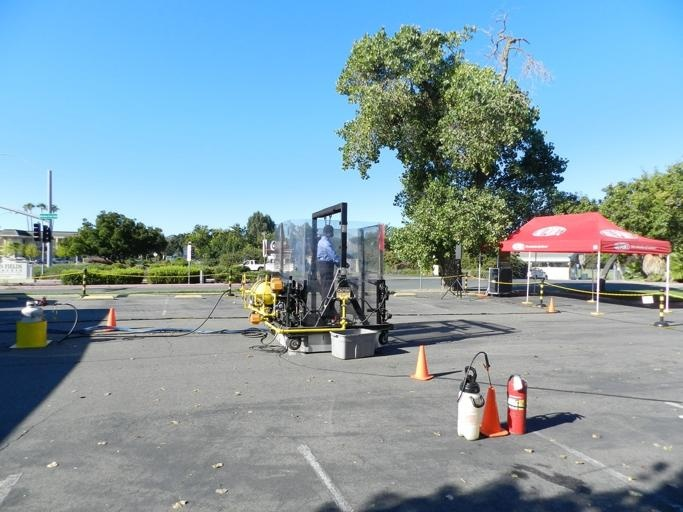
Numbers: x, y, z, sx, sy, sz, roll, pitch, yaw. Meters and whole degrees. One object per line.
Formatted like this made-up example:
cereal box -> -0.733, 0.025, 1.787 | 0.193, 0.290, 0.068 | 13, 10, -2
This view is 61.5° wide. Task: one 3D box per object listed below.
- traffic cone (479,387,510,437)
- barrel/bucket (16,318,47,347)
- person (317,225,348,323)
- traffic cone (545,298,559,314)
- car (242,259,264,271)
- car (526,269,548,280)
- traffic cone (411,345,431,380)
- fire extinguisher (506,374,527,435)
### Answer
traffic cone -> 2.454, 2.410, 9.051 | 0.390, 0.767, 0.589 | 7, 11, 39
barrel/bucket -> -7.200, 1.785, 13.420 | 0.632, 0.727, 0.630 | 2, -2, 0
person -> -0.314, 0.411, 13.487 | 0.521, 2.232, 0.725 | -2, 9, -16
traffic cone -> 8.491, 2.025, 23.296 | 0.444, 0.477, 0.500 | -2, -3, -2
car -> -7.917, 0.703, 51.734 | 1.904, 0.871, 1.143 | 4, -3, -27
car -> 16.926, 1.578, 49.998 | 1.971, 0.967, 1.111 | -4, 7, -23
traffic cone -> 1.595, 2.135, 11.537 | 0.563, 0.607, 0.570 | -1, 0, -14
fire extinguisher -> 2.751, 2.315, 9.014 | 0.291, 0.926, 0.248 | 3, 9, 17
